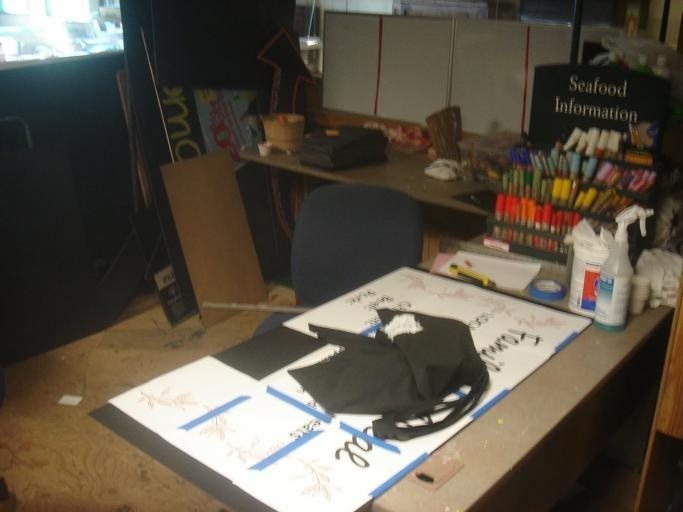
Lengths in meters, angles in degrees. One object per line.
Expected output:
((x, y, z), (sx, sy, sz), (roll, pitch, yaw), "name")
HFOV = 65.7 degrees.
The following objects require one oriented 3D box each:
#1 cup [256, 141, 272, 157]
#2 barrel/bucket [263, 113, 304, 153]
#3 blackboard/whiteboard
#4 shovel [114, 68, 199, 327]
((-0.526, -0.716, 3.602), (0.089, 0.076, 0.095), (0, 33, 0), "cup")
((-0.385, -0.825, 3.693), (0.287, 0.255, 0.323), (-1, 19, -1), "barrel/bucket")
((0.556, -1.186, 3.375), (1.719, 0.693, 0.110), (18, 29, 36), "blackboard/whiteboard")
((-1.138, -0.162, 3.307), (0.285, 1.639, 0.388), (19, 22, 32), "shovel")
